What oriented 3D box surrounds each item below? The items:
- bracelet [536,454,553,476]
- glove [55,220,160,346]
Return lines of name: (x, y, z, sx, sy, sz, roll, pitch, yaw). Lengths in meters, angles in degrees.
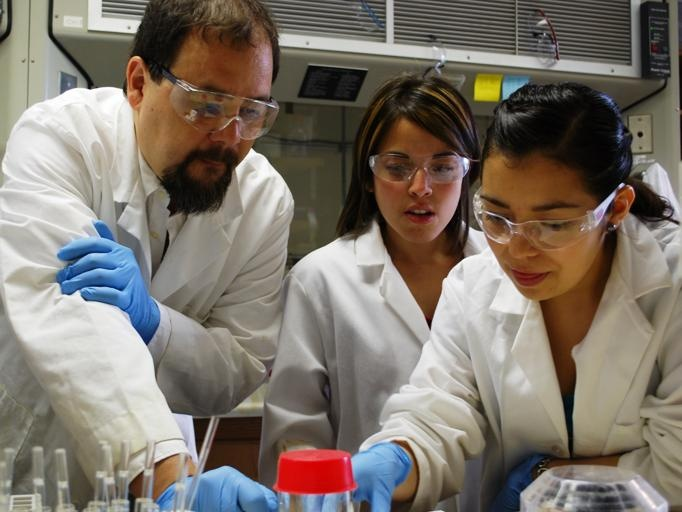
bracelet: (0.567, 0.589, 1.934, 0.020, 0.065, 0.049, 21, 0, -17)
glove: (-0.629, 0.102, 1.954, 0.149, 0.265, 0.370, 0, -1, 27)
